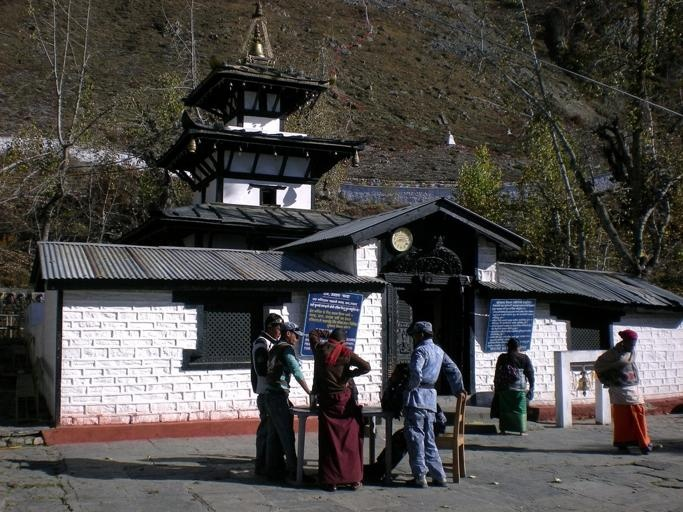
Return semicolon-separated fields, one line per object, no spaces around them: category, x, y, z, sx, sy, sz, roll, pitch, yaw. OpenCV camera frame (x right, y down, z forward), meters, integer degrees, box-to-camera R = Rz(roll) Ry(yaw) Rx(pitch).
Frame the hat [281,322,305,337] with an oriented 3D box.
hat;-1.159;1.741;22.989;0.530;0.270;0.353;10;-3;-8

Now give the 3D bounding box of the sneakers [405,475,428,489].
sneakers;1.777;5.322;22.282;0.528;0.243;0.207;1;-5;17

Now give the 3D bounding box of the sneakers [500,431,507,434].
sneakers;4.504;4.931;26.582;0.151;0.108;0.081;0;-13;0

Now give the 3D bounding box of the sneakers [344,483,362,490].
sneakers;0.300;5.389;22.172;0.288;0.091;0.177;4;-10;-36

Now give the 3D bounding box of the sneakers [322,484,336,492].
sneakers;-0.273;5.389;22.040;0.297;0.296;0.142;-4;-6;24

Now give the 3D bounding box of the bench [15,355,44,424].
bench;-8.708;3.961;26.578;0.683;1.238;2.192;2;-6;-18

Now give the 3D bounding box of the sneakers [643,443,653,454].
sneakers;7.901;5.006;24.602;0.164;0.236;0.649;-3;-6;32

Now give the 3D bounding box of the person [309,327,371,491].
person;-0.074;3.578;22.218;1.244;3.757;0.373;0;-5;-2

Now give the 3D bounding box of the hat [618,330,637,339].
hat;7.410;2.079;24.858;0.485;0.369;0.354;0;-1;28

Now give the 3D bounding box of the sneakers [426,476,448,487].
sneakers;2.287;5.346;22.361;0.406;0.179;0.152;-2;-2;3

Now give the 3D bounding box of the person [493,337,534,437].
person;4.723;3.567;26.167;1.016;2.541;0.685;-1;-5;11

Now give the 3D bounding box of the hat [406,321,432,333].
hat;1.866;1.689;22.762;0.443;0.225;0.315;-3;-10;4
